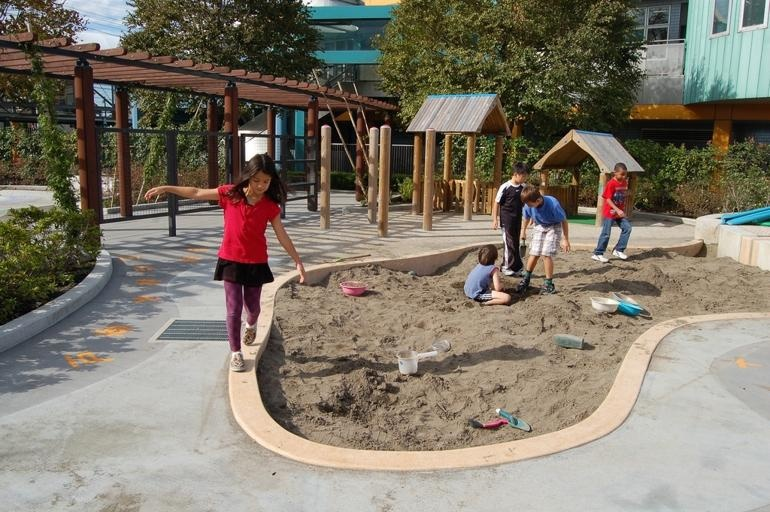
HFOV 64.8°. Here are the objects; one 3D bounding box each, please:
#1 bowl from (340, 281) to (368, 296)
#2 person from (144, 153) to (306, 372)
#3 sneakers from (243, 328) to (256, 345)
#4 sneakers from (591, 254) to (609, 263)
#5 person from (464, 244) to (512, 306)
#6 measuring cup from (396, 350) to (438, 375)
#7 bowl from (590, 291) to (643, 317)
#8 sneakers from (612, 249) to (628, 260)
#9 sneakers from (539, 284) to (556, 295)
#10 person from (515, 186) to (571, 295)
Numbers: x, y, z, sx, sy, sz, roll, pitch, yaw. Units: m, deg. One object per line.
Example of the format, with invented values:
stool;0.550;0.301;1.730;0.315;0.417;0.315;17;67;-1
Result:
bowl;-0.487;0.478;9.300;0.394;0.158;0.431;-1;11;0
person;-1.447;0.050;6.454;1.115;2.260;0.486;-3;12;-12
sneakers;-1.558;0.895;6.912;0.125;0.213;0.093;5;11;-3
sneakers;3.812;0.020;10.796;0.109;0.124;0.298;-6;9;-42
person;1.479;0.242;8.654;0.442;0.806;0.710;-8;13;-31
measuring cup;0.346;1.164;6.987;0.250;0.242;0.578;7;13;35
bowl;3.139;0.665;8.222;0.640;0.232;0.480;-8;13;-33
sneakers;4.242;-0.064;10.968;0.117;0.139;0.314;-21;30;-33
sneakers;2.392;0.460;8.870;0.204;0.127;0.384;2;11;15
person;2.473;-0.366;9.459;0.713;1.559;1.643;2;11;13
